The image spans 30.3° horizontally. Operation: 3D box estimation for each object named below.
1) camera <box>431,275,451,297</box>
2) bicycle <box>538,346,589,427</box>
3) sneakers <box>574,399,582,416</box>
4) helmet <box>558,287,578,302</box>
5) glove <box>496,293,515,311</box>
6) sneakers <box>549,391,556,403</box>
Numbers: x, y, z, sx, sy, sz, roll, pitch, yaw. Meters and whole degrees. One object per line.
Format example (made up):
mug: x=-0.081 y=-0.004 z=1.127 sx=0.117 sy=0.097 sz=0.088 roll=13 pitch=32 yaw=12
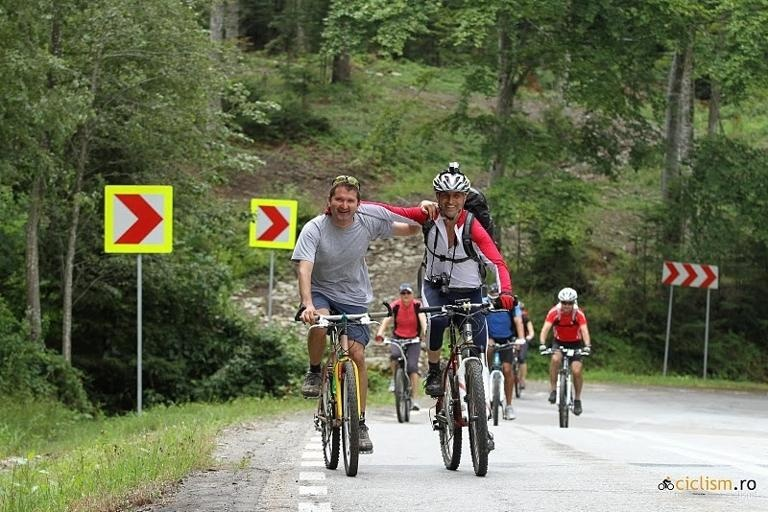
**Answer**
camera: x=1.082 y=0.595 z=27.758 sx=0.344 sy=0.359 sz=0.337 roll=0 pitch=12 yaw=4
bicycle: x=4.322 y=2.998 z=32.959 sx=0.649 sy=1.599 sz=1.558 roll=0 pitch=-1 yaw=7
sneakers: x=4.491 y=3.507 z=33.042 sx=0.170 sy=0.365 sz=0.149 roll=0 pitch=-1 yaw=12
helmet: x=4.608 y=0.983 z=35.799 sx=0.405 sy=0.513 sz=0.533 roll=4 pitch=17 yaw=9
glove: x=2.306 y=0.861 z=26.968 sx=0.113 sy=0.287 sz=0.288 roll=1 pitch=1 yaw=-25
sneakers: x=3.978 y=3.306 z=33.418 sx=0.275 sy=0.221 sz=0.398 roll=-2 pitch=6 yaw=11
